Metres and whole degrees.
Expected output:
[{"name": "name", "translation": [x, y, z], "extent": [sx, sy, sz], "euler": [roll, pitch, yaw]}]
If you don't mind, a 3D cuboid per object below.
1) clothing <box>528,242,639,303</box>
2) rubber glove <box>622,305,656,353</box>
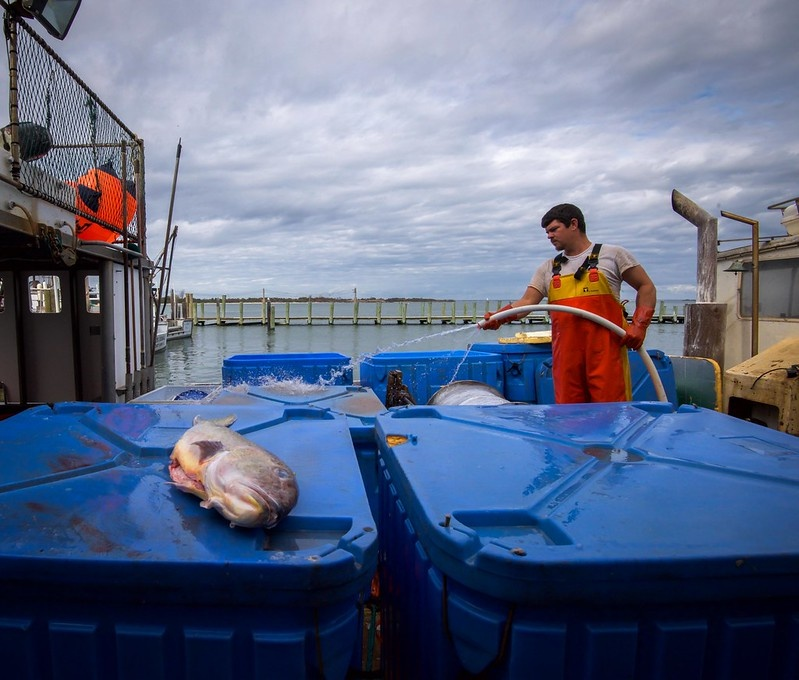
[{"name": "clothing", "translation": [1.485, -0.525, 4.453], "extent": [0.332, 0.506, 0.771], "euler": [-6, -5, -43]}, {"name": "rubber glove", "translation": [1.817, -0.105, 4.362], "extent": [0.247, 0.139, 0.386], "euler": [-4, 30, 49]}]
